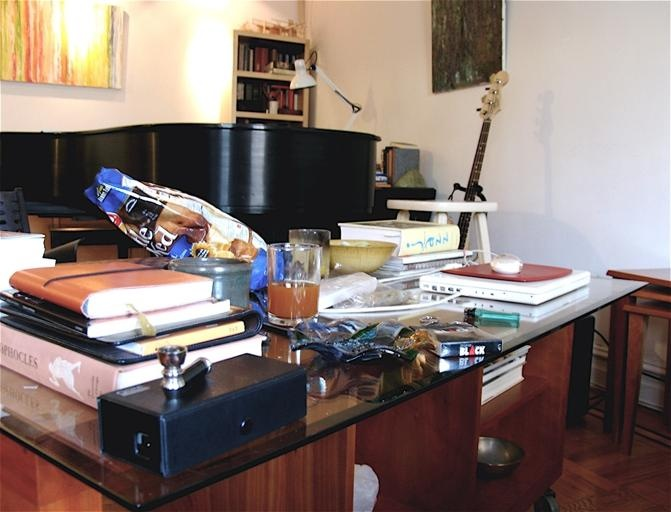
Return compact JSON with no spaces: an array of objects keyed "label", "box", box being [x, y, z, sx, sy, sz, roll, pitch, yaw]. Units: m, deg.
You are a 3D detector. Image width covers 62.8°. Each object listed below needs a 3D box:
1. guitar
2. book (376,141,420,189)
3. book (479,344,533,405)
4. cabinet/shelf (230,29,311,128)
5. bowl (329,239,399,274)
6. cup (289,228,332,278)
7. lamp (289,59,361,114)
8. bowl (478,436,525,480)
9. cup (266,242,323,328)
[{"label":"guitar","box":[0.816,-0.559,3.155,0.308,1.003,0.706,2,11,12]},{"label":"book","box":[0.445,-0.608,3.747,0.272,0.258,0.280,1,10,7]},{"label":"book","box":[0.423,0.285,1.405,0.170,0.074,0.168,-12,8,-37]},{"label":"cabinet/shelf","box":[-0.600,-1.746,5.197,0.717,0.379,1.247,-1,-19,-9]},{"label":"bowl","box":[0.059,0.011,1.640,0.243,0.088,0.247,2,1,0]},{"label":"cup","box":[-0.054,-0.010,1.472,0.118,0.142,0.123,1,2,0]},{"label":"lamp","box":[-0.152,-1.464,4.759,0.494,0.507,0.965,-3,11,-18]},{"label":"bowl","box":[0.405,0.519,1.396,0.138,0.045,0.136,-5,3,0]},{"label":"cup","box":[-0.083,0.054,1.153,0.115,0.156,0.147,1,1,-7]}]
